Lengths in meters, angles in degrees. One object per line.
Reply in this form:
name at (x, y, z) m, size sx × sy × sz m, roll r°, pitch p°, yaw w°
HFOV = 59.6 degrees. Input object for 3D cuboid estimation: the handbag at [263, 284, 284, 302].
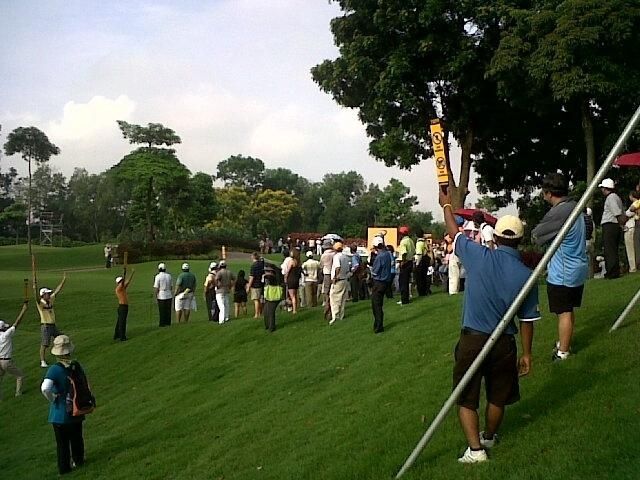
handbag at (-1.653, 1.834, 19.588) m, size 0.734 × 0.875 × 0.456 m, roll 1°, pitch 2°, yaw 14°

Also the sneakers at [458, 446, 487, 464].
sneakers at (2.155, 3.022, 7.922) m, size 0.429 × 0.221 × 0.173 m, roll -9°, pitch -12°, yaw 40°

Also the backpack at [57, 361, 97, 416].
backpack at (-5.311, 3.208, 12.127) m, size 0.531 × 1.211 × 0.419 m, roll -16°, pitch 8°, yaw -35°

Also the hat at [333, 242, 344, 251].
hat at (0.609, 0.202, 19.375) m, size 0.212 × 0.267 × 0.300 m, roll 11°, pitch 18°, yaw 25°

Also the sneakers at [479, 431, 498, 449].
sneakers at (2.449, 2.886, 8.151) m, size 0.164 × 0.204 × 0.297 m, roll 3°, pitch 5°, yaw 17°

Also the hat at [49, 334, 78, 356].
hat at (-5.660, 2.289, 12.356) m, size 0.408 × 0.312 × 0.546 m, roll 1°, pitch 5°, yaw -12°

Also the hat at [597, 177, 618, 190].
hat at (7.576, -1.497, 14.723) m, size 0.250 × 0.318 × 0.934 m, roll -10°, pitch 8°, yaw 24°

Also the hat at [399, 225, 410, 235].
hat at (3.018, -0.362, 19.952) m, size 0.281 × 0.230 × 0.413 m, roll 0°, pitch -8°, yaw 4°

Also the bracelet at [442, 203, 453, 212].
bracelet at (1.905, -0.481, 8.282) m, size 0.138 × 0.075 × 0.115 m, roll 5°, pitch -7°, yaw 8°

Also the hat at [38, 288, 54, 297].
hat at (-9.533, 1.839, 19.328) m, size 0.406 × 0.393 × 0.789 m, roll -17°, pitch 7°, yaw -28°
